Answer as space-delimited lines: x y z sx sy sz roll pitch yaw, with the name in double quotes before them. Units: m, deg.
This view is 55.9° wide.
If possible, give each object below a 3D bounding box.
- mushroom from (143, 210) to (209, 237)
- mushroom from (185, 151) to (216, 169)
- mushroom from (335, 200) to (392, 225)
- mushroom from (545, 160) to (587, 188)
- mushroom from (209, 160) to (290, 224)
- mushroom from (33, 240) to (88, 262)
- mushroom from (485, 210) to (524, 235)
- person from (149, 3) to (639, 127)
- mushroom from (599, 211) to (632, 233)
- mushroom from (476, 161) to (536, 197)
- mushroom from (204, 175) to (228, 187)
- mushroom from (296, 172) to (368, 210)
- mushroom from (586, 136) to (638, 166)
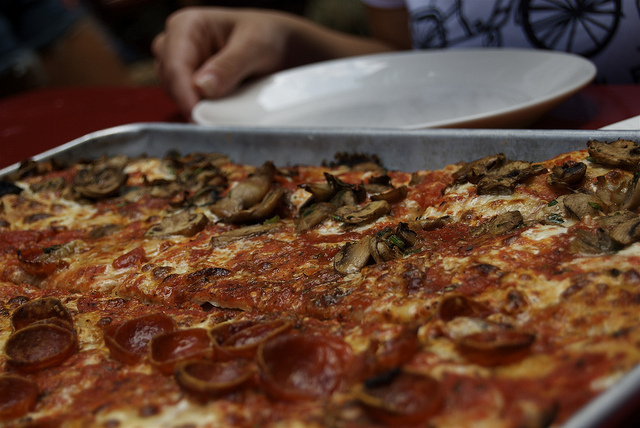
"mushroom" -0.488 0.038 2.064 0.151 0.031 0.101 -3 25 8
"mushroom" -0.482 -0.222 2.425 0.084 0.025 0.085 -30 33 -3
"mushroom" 0.134 -0.006 1.915 0.103 0.038 0.105 -8 5 20
"mushroom" 0.741 -0.123 1.792 0.101 0.062 0.126 -6 -6 -42
"mushroom" -0.198 -0.112 2.159 0.082 0.210 0.189 -14 56 -40
"mushroom" -0.873 0.130 2.057 0.109 0.026 0.073 -23 16 -22
"mushroom" 0.502 0.022 1.655 0.072 0.023 0.072 -24 16 -1
"person" 0.299 -0.969 3.244 1.708 0.272 1.170 -2 26 4
"mushroom" 0.737 0.015 1.520 0.057 0.016 0.057 11 34 44
"mushroom" 0.566 -0.112 1.840 0.137 0.038 0.107 -25 20 -6
"mushroom" -0.390 -0.127 2.289 0.061 0.015 0.036 -13 -19 38
"mushroom" 0.044 -0.076 2.025 0.147 0.069 0.147 11 3 -20
"mushroom" 0.871 -0.185 1.784 0.107 0.048 0.097 0 15 17
